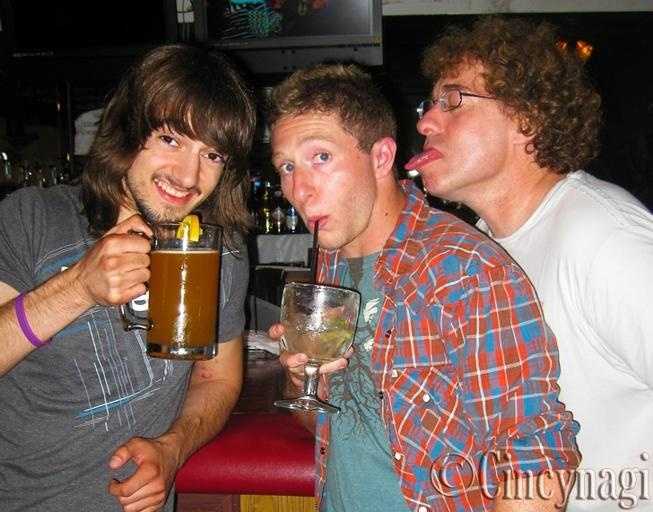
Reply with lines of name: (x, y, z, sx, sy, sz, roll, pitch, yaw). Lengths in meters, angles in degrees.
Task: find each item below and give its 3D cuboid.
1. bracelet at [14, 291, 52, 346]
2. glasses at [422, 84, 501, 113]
bracelet: (-1.056, 0.237, 2.152, 0.042, 0.159, 0.161, -32, 15, -13)
glasses: (0.642, -0.745, 2.782, 0.194, 0.053, 0.185, 11, -13, -31)
